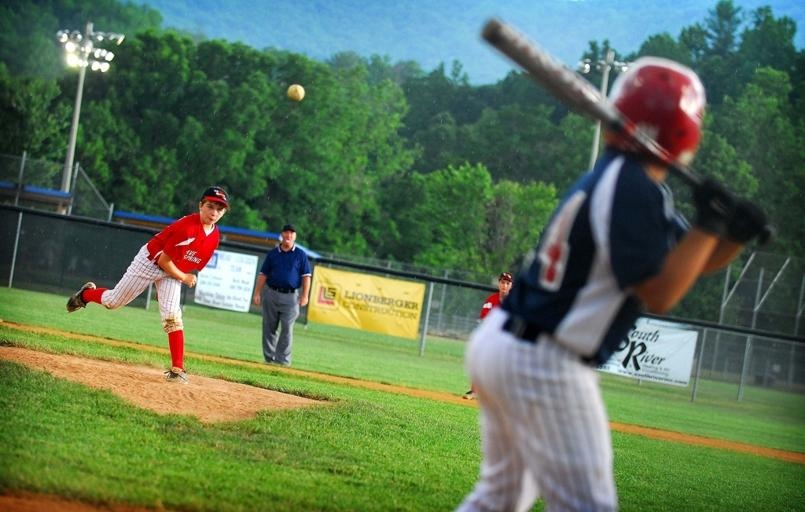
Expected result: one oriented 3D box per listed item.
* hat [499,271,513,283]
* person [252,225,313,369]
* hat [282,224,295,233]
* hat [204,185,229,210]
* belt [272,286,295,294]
[{"bbox_3d":[2.098,0.456,17.556,0.213,0.153,0.307,1,6,7],"label":"hat"},{"bbox_3d":[-2.575,0.838,18.364,1.119,3.006,0.954,6,10,-11],"label":"person"},{"bbox_3d":[-2.371,-0.571,18.223,0.229,0.154,0.409,10,10,9],"label":"hat"},{"bbox_3d":[-3.455,-1.115,15.870,0.436,0.317,0.558,22,-8,-25],"label":"hat"},{"bbox_3d":[-2.488,0.750,18.136,0.448,0.115,0.065,7,10,-11],"label":"belt"}]
